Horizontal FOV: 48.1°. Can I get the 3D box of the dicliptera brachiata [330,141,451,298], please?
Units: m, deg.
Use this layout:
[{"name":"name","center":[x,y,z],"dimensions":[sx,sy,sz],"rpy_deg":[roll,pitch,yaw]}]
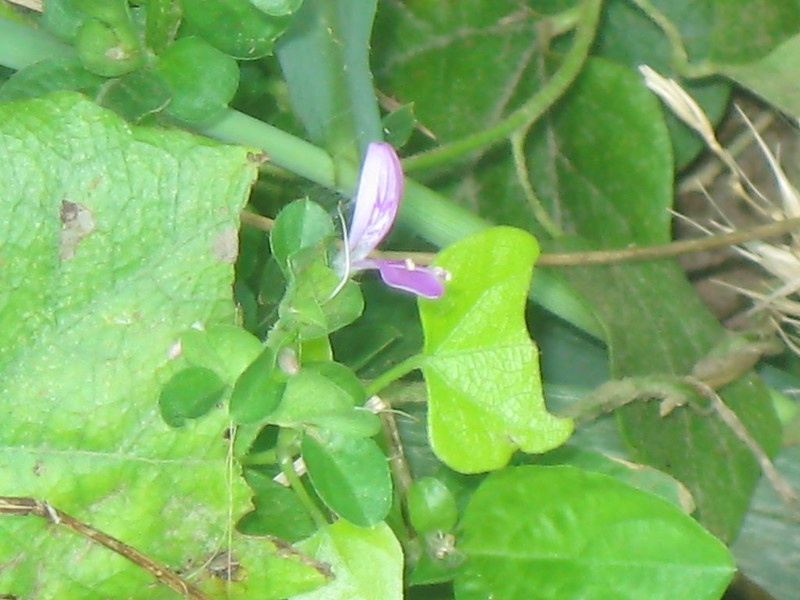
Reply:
[{"name":"dicliptera brachiata","center":[0.003,-0.050,0.638],"dimensions":[0.089,0.078,0.022],"rpy_deg":[12,11,-34]}]
